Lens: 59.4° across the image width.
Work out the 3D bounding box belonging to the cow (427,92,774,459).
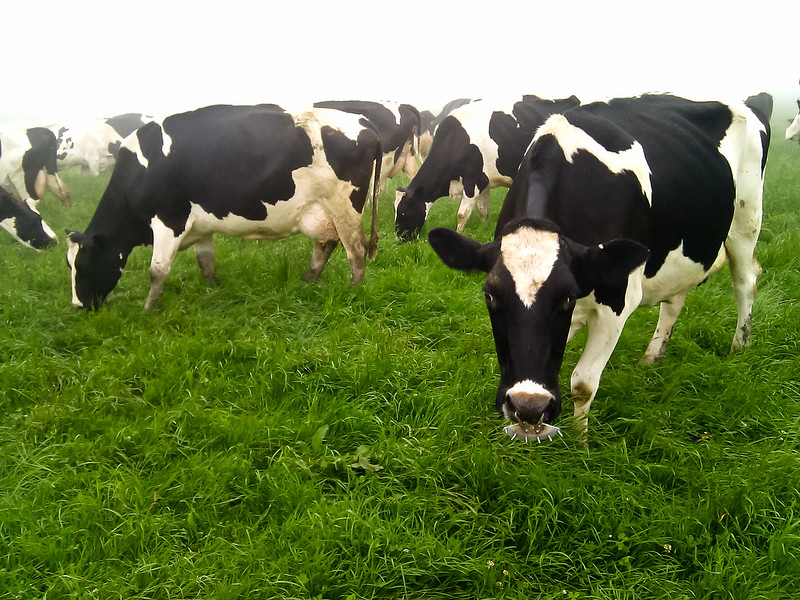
[{"bbox_3d":[1.617,-0.339,5.262,3.037,2.245,1.119,-17,22,-41],"label":"cow"}]
